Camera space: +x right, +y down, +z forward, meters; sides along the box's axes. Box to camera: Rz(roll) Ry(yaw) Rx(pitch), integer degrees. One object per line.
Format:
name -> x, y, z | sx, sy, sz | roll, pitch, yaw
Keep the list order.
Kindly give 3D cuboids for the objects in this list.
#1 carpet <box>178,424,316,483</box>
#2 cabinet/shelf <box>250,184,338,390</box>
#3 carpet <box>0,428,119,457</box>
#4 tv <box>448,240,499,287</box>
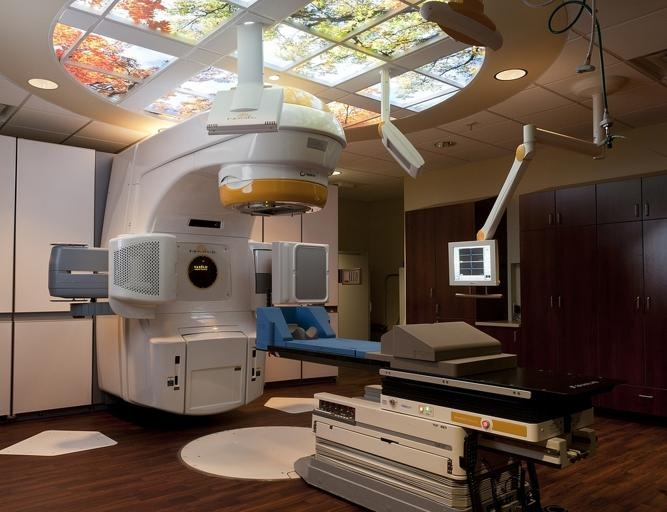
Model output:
carpet -> -0.697, 1.595, 4.109 | 1.094, 0.029, 1.149 | 1, -2, 7
cabinet/shelf -> -0.403, 0.325, 6.953 | 1.382, 2.821, 0.355 | 2, -2, -35
carpet -> -2.291, 1.614, 4.295 | 0.883, 0.031, 0.676 | 1, -2, 6
tv -> 0.941, 0.045, 3.323 | 0.321, 0.309, 0.270 | 0, -2, 20
